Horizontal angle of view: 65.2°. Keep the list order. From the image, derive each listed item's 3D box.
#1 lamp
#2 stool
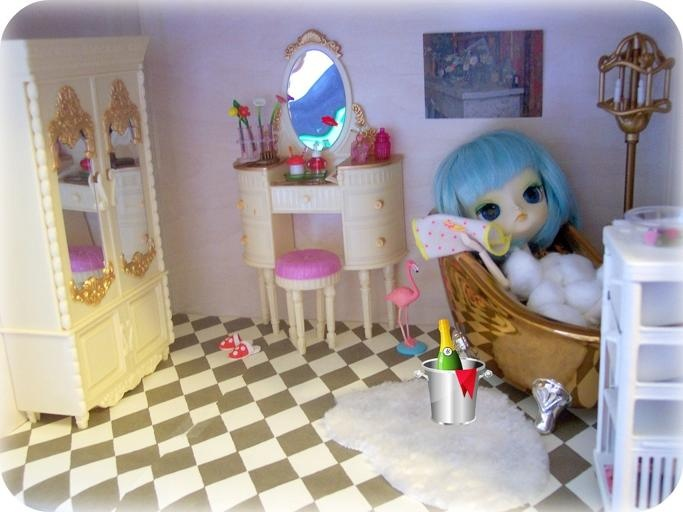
[{"bbox_3d":[1.967,-0.881,3.585,0.449,1.189,0.751,3,16,27],"label":"lamp"},{"bbox_3d":[-0.255,0.393,4.397,0.543,0.757,0.537,-9,15,-21],"label":"stool"}]
